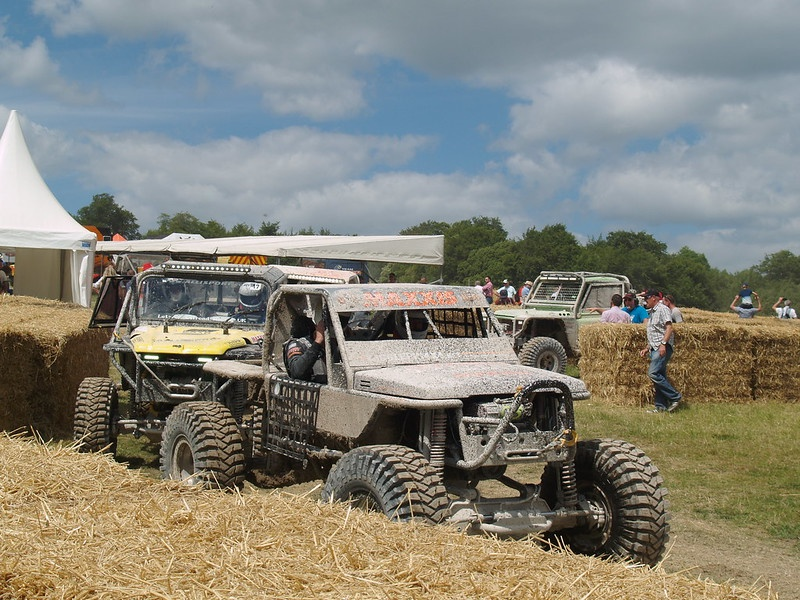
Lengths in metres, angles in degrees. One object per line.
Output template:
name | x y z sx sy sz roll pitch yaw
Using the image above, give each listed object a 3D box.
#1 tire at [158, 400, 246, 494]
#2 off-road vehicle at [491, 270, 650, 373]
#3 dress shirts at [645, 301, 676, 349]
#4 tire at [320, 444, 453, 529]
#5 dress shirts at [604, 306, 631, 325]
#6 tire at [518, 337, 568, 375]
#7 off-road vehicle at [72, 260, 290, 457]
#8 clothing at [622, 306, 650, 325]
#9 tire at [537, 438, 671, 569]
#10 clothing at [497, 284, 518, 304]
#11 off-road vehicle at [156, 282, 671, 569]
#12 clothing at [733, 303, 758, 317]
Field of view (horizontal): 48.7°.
tire | -1.672 1.279 7.556 0.286 0.844 0.797 5 -2 -43
off-road vehicle | 2.965 0.358 16.818 2.676 1.768 1.727 4 -3 -37
dress shirts | 3.833 0.384 13.105 0.362 0.744 0.657 2 -4 -5
tire | -0.099 1.314 6.393 0.980 0.502 0.370 9 5 41
dress shirts | 3.585 0.274 14.737 0.419 0.374 0.246 2 -11 -2
tire | 2.254 0.882 14.000 0.649 0.701 0.251 7 3 -34
off-road vehicle | -2.431 0.530 9.856 1.798 1.518 2.380 1 -4 5
clothing | 3.897 0.253 14.664 0.254 0.214 0.088 -9 -38 46
tire | 1.486 1.544 6.612 0.315 0.982 0.909 2 5 -38
clothing | 3.494 -0.196 29.127 0.520 0.477 0.849 -3 -10 7
off-road vehicle | -0.054 0.909 7.527 2.168 1.979 3.719 2 -2 -34
clothing | 7.943 0.241 20.431 0.680 0.343 0.768 -2 4 12
